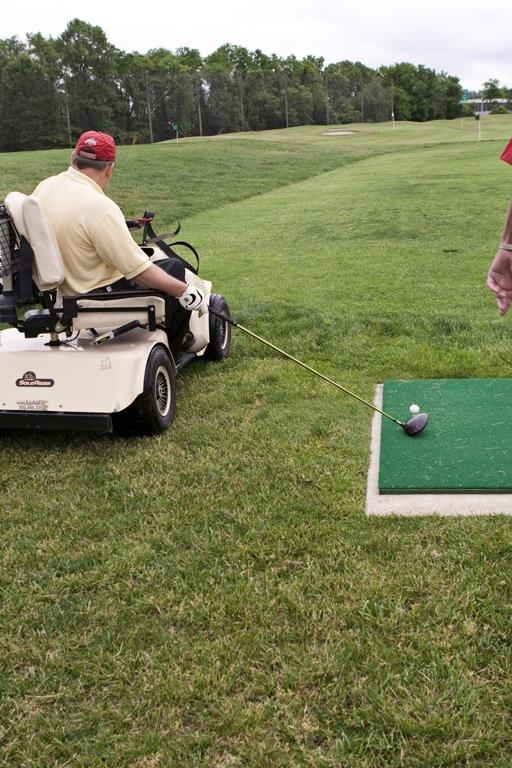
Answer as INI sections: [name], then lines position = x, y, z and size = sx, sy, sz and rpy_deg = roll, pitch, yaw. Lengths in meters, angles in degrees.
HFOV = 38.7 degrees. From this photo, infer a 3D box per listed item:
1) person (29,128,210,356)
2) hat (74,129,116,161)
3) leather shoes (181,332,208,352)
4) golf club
[person]
position = -0.832, -0.734, 4.359
size = 0.977, 1.320, 0.782
rpy_deg = -9, 26, -40
[hat]
position = -0.904, -1.351, 4.188
size = 0.175, 0.136, 0.239
rpy_deg = 16, 31, 2
[leather shoes]
position = -0.404, -0.284, 5.019
size = 0.207, 0.063, 0.140
rpy_deg = -8, -6, -20
[golf club]
position = 0.339, -0.118, 5.253
size = 2.000, 0.218, 0.352
rpy_deg = 24, -3, 3
